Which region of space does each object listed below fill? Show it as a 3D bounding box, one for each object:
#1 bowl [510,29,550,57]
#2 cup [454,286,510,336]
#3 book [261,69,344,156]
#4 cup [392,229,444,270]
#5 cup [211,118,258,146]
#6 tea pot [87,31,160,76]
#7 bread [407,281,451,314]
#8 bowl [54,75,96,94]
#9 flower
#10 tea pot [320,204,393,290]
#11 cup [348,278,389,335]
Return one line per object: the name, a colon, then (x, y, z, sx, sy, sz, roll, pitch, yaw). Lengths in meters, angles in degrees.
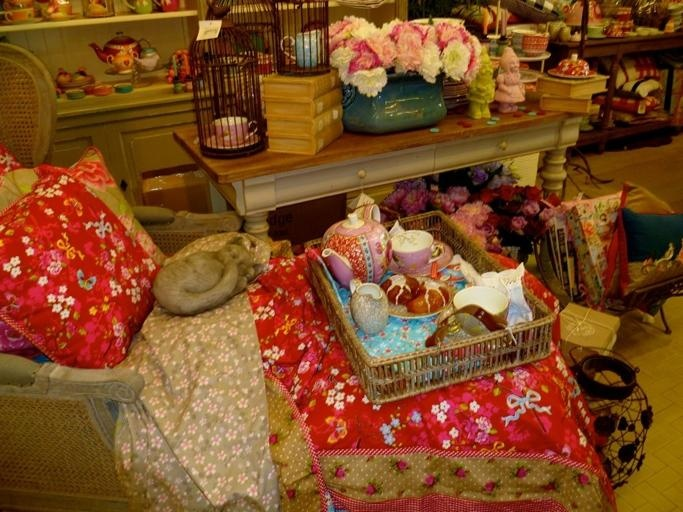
bowl: (1.097, -1.252, 2.888, 0.180, 0.115, 0.175, 1, 27, 0)
cup: (0.429, 0.134, 1.477, 0.129, 0.089, 0.148, 1, 34, 8)
book: (-0.139, -0.609, 2.065, 0.359, 0.293, 0.300, -8, 36, -12)
cup: (0.269, -0.034, 1.730, 0.146, 0.101, 0.124, 20, 43, 28)
cup: (-0.453, -0.524, 2.044, 0.148, 0.082, 0.124, -4, 20, -10)
tea pot: (-1.372, -1.332, 3.230, 0.400, 0.231, 0.292, 2, 43, -2)
bread: (0.277, 0.124, 1.564, 0.118, 0.054, 0.094, -32, 46, -24)
bowl: (-1.645, -1.071, 3.052, 0.219, 0.098, 0.172, -18, 40, -24)
flower: (0.695, -0.286, 2.538, 0.591, 0.246, 0.610, 17, 39, 18)
tea pot: (0.077, -0.026, 1.735, 0.196, 0.189, 0.278, 11, 43, 31)
cup: (0.088, 0.152, 1.572, 0.112, 0.148, 0.151, -17, 25, -16)
